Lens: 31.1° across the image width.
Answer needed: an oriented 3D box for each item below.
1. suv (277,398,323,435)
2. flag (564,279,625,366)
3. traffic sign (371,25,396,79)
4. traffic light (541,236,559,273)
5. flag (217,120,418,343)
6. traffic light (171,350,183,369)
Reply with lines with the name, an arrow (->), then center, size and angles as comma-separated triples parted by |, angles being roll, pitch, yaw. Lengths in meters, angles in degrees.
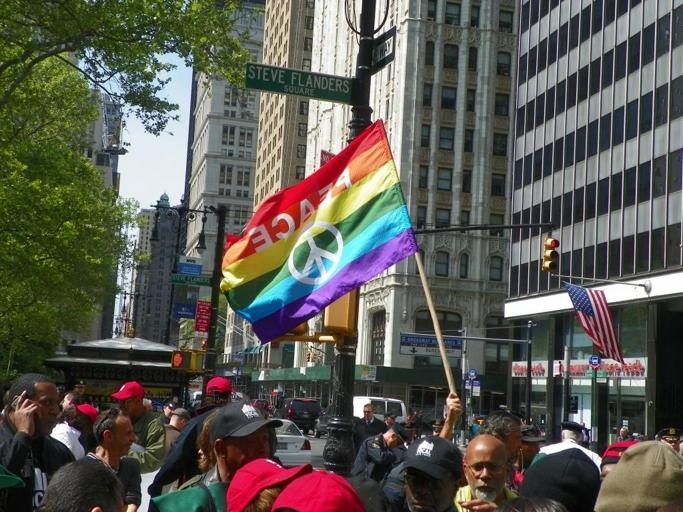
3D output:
suv -> -2.174, 8.580, 66.521 | 1.424, 1.251, 2.699 | 2, -4, -13
flag -> 9.829, 2.488, 47.106 | 1.128, 3.350, 1.933 | 0, -9, 8
traffic sign -> 1.087, -5.317, 31.336 | 0.594, 1.269, 0.916 | 5, -16, 0
traffic light -> 7.115, -0.110, 41.480 | 0.425, 1.305, 0.688 | 5, -16, -2
flag -> -0.510, -0.516, 30.547 | 4.078, 5.267, 0.566 | 0, -17, 15
traffic light -> -5.507, 3.449, 41.137 | 0.398, 0.556, 0.407 | 4, -16, 3
